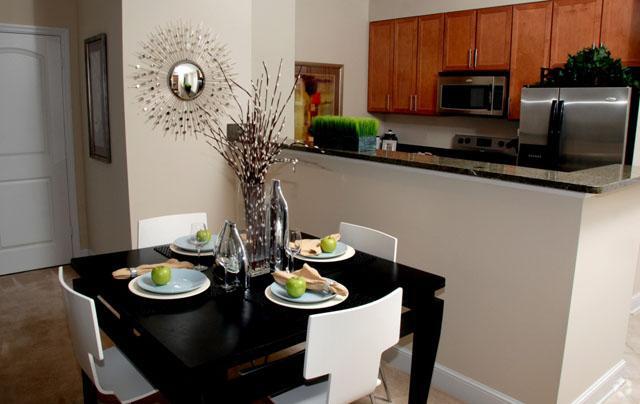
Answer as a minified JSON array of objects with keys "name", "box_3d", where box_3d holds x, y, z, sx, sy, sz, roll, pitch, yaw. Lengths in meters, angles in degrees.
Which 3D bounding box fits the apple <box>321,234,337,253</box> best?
[{"name":"apple","box_3d":[0.060,0.291,2.962,0.103,0.111,0.100,-7,7,-43]}]

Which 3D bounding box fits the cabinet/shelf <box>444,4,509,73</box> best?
[{"name":"cabinet/shelf","box_3d":[1.931,-1.998,5.271,0.797,0.732,0.342,10,15,39]}]

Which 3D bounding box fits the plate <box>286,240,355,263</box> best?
[{"name":"plate","box_3d":[0.029,0.354,2.892,0.225,0.031,0.232,6,15,28]}]

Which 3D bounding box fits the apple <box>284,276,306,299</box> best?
[{"name":"apple","box_3d":[-0.137,0.472,2.464,0.110,0.134,0.108,-6,12,-12]}]

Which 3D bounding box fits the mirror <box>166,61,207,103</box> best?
[{"name":"mirror","box_3d":[-1.286,-1.158,4.135,0.408,0.425,0.053,-1,8,-34]}]

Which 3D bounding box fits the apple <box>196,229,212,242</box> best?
[{"name":"apple","box_3d":[-0.735,0.222,2.772,0.079,0.082,0.082,0,13,8]}]

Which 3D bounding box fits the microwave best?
[{"name":"microwave","box_3d":[1.898,-1.315,5.362,0.854,0.578,0.535,11,16,37]}]

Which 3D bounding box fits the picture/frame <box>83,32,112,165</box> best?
[{"name":"picture/frame","box_3d":[-2.226,-1.088,4.385,0.101,1.548,1.255,-2,6,-37]}]

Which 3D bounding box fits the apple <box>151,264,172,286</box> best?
[{"name":"apple","box_3d":[-0.900,0.420,2.470,0.105,0.112,0.107,-1,-2,3]}]
